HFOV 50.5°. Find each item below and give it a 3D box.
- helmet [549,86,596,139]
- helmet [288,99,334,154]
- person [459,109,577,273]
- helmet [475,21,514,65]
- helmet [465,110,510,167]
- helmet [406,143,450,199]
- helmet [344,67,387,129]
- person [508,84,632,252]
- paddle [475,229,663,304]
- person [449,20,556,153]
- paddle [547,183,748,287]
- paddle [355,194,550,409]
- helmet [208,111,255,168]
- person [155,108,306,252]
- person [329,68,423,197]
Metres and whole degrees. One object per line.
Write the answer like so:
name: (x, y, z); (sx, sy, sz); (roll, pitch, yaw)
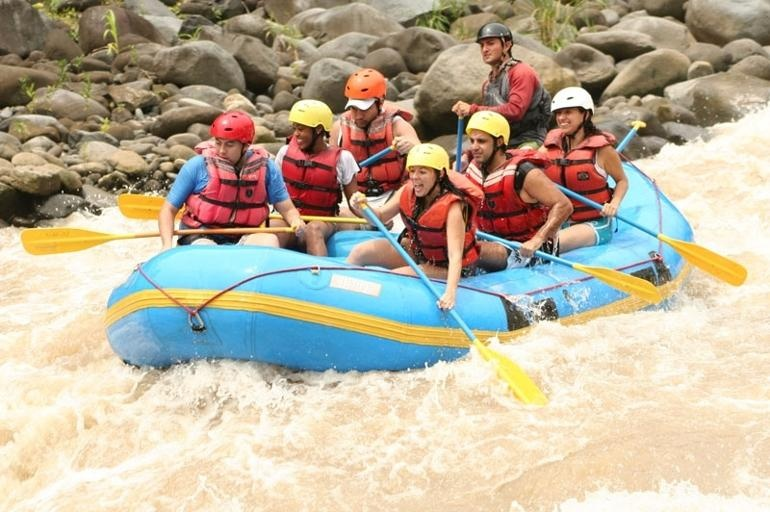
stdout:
helmet: (1.904, -1.462, 8.295); (0.417, 0.520, 0.523); (1, 7, 18)
helmet: (-0.679, -1.269, 8.054); (0.357, 0.443, 0.413); (6, 18, 39)
person: (1.119, -0.615, 7.872); (0.978, 1.488, 1.237); (-18, 16, -40)
helmet: (1.208, -2.367, 9.014); (0.429, 0.458, 0.389); (-7, -3, -21)
helmet: (0.982, -1.173, 7.690); (0.387, 0.301, 0.296); (-4, 24, -37)
helmet: (0.364, -0.836, 7.273); (0.322, 0.338, 0.402); (18, 24, 23)
helmet: (-0.215, -1.650, 8.578); (0.442, 0.586, 0.600); (9, 29, 19)
person: (1.840, -0.880, 8.337); (1.195, 1.603, 1.046); (3, 13, 35)
paddle: (1.675, 0.123, 7.712); (1.893, 0.210, 0.126); (19, 3, 7)
person: (1.299, -1.813, 9.156); (1.106, 1.519, 1.308); (-12, 16, -30)
paddle: (2.766, -0.278, 8.815); (0.214, 0.280, 2.617); (-20, 31, -21)
paddle: (0.583, 0.458, 7.212); (2.715, 0.117, 0.311); (42, 26, 28)
helmet: (-1.388, -1.089, 7.599); (0.329, 0.409, 0.433); (10, 13, 29)
person: (-1.467, -0.644, 7.653); (1.317, 1.374, 0.975); (0, 17, -25)
person: (-0.171, -1.202, 8.682); (1.061, 1.469, 0.862); (1, 22, 19)
